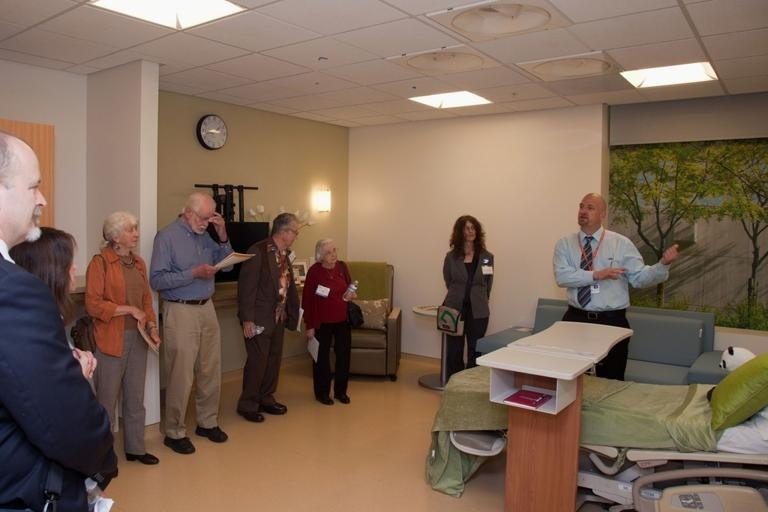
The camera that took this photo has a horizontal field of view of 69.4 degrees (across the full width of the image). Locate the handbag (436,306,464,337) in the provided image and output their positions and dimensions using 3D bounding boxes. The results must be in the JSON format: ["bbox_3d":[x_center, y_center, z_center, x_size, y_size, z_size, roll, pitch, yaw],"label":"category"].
[{"bbox_3d":[0.776,0.738,6.375,0.302,0.300,0.163,11,22,33],"label":"handbag"}]

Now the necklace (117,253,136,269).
[{"bbox_3d":[-2.211,0.040,4.751,0.098,0.073,0.127,-1,17,-24],"label":"necklace"}]

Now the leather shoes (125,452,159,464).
[{"bbox_3d":[-2.162,1.779,4.942,0.304,0.125,0.110,0,-6,-1],"label":"leather shoes"}]

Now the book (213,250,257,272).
[{"bbox_3d":[-1.426,0.041,5.303,0.497,0.054,0.385,-25,-10,40],"label":"book"}]

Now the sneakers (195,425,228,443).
[{"bbox_3d":[-1.657,1.700,5.356,0.304,0.127,0.132,2,0,20],"label":"sneakers"}]

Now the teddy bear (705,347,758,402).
[{"bbox_3d":[2.691,0.920,4.304,0.366,0.259,0.278,-37,8,40],"label":"teddy bear"}]

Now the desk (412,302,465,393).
[{"bbox_3d":[0.699,1.134,7.095,0.843,0.941,0.905,1,-1,9],"label":"desk"}]

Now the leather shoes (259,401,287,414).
[{"bbox_3d":[-1.197,1.625,5.969,0.294,0.129,0.109,0,-1,6],"label":"leather shoes"}]

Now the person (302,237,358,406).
[{"bbox_3d":[-0.624,0.737,6.182,0.568,1.828,0.514,-1,10,-14],"label":"person"}]

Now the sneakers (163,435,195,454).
[{"bbox_3d":[-1.873,1.726,5.098,0.299,0.124,0.122,2,1,26],"label":"sneakers"}]

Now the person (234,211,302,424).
[{"bbox_3d":[-1.199,0.619,5.788,0.346,2.115,0.672,8,12,37],"label":"person"}]

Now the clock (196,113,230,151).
[{"bbox_3d":[-1.994,-1.433,6.448,0.090,0.410,0.378,8,11,35],"label":"clock"}]

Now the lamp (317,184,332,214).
[{"bbox_3d":[-0.841,-0.791,7.839,0.157,0.396,0.444,5,10,24],"label":"lamp"}]

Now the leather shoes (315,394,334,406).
[{"bbox_3d":[-0.666,1.611,6.237,0.209,0.086,0.081,1,1,31],"label":"leather shoes"}]

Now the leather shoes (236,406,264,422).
[{"bbox_3d":[-1.378,1.624,5.756,0.257,0.105,0.124,1,5,22],"label":"leather shoes"}]

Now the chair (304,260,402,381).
[{"bbox_3d":[-0.258,0.805,7.244,1.028,1.369,0.890,3,13,15],"label":"chair"}]
